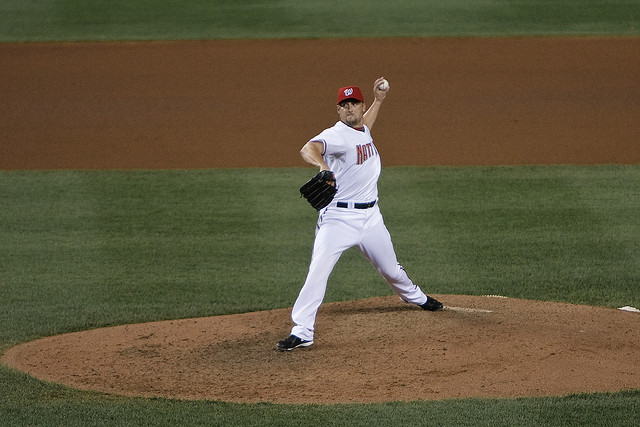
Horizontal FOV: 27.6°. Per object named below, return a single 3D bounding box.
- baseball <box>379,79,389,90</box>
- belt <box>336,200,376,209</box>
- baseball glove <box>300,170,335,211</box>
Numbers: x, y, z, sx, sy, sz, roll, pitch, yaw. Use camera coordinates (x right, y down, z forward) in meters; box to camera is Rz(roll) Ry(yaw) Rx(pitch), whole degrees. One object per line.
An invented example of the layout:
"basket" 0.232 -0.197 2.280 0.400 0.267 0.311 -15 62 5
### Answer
"baseball" 1.316 -2.587 26.170 0.224 0.203 0.114 -6 10 -44
"belt" 0.700 -0.143 25.359 0.727 0.132 0.103 1 8 -7
"baseball glove" -0.049 -0.440 25.027 0.650 0.795 0.257 1 8 -1
